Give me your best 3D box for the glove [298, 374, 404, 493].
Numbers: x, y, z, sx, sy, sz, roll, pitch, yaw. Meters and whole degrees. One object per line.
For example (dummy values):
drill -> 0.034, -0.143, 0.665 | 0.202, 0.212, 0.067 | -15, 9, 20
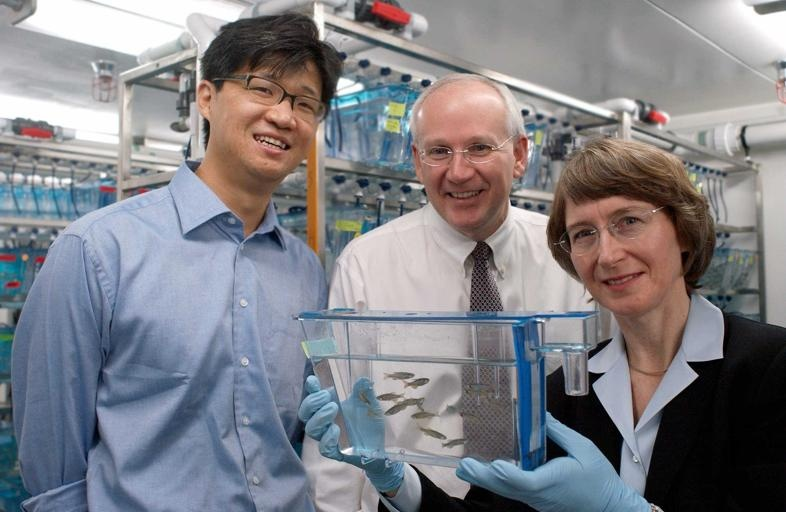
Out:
glove -> -0.139, 0.564, 2.301 | 0.314, 0.422, 0.141 | 19, 13, 13
